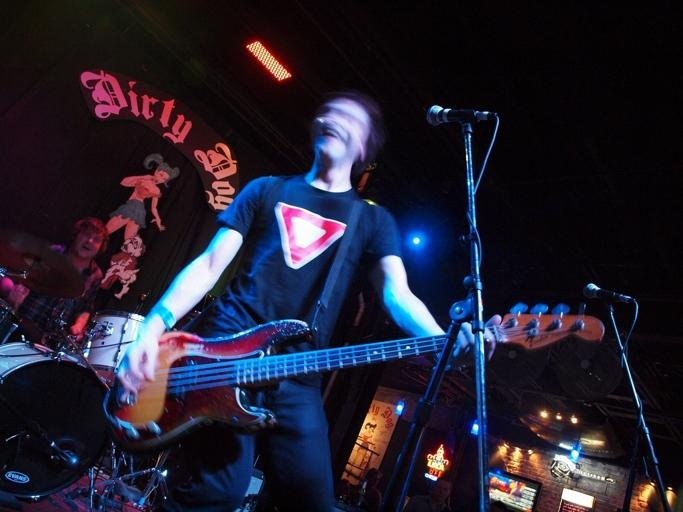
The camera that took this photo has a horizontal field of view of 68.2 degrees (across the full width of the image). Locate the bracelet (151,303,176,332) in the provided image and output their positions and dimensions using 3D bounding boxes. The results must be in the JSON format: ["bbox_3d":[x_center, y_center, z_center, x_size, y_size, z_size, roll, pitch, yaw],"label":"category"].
[{"bbox_3d":[-1.263,0.427,3.676,0.175,0.138,0.180,35,-12,7],"label":"bracelet"}]

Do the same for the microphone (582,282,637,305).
[{"bbox_3d":[3.450,0.439,6.425,0.769,0.231,0.265,10,-60,59],"label":"microphone"}]
